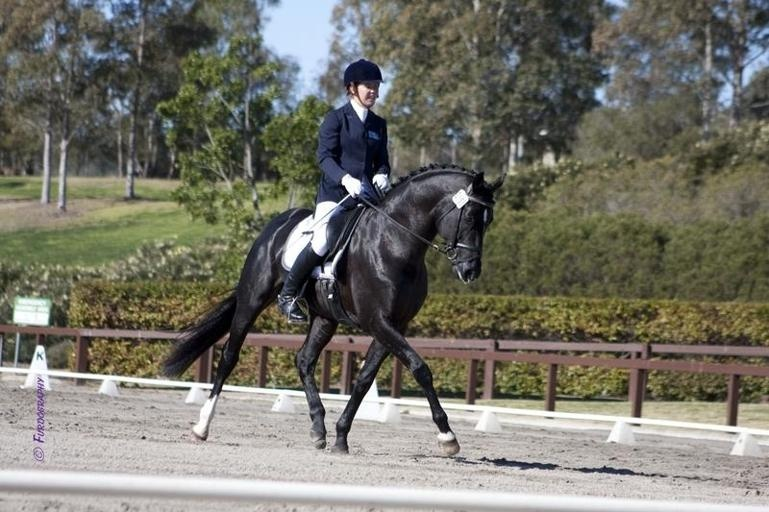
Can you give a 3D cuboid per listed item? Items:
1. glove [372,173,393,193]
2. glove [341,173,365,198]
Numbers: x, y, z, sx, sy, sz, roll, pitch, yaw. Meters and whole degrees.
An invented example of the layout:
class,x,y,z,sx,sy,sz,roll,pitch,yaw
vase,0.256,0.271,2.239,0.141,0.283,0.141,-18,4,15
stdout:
class,x,y,z,sx,sy,sz,roll,pitch,yaw
glove,-0.054,-1.646,30.278,0.302,0.497,0.161,-1,4,11
glove,-0.727,-1.573,29.897,0.537,0.168,0.396,46,21,30
